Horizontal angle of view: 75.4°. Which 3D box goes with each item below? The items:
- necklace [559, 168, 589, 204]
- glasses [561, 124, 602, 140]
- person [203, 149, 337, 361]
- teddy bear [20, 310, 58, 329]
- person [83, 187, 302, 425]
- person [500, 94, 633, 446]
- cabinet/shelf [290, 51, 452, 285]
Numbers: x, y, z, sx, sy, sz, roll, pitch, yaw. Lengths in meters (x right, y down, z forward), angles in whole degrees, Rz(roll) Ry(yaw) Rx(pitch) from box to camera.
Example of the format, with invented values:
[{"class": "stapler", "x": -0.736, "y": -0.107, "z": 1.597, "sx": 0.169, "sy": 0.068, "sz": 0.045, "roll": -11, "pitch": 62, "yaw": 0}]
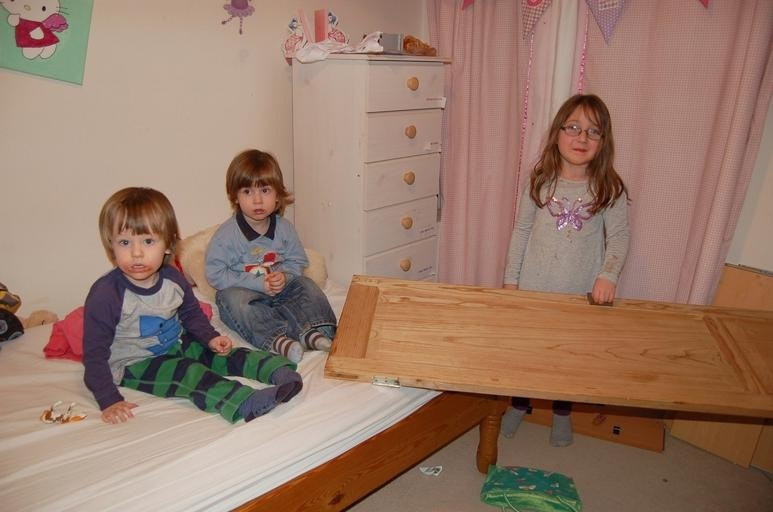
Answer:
[{"class": "necklace", "x": 0.893, "y": -0.340, "z": 2.374, "sx": 0.179, "sy": 0.180, "sz": 0.090, "roll": 7, "pitch": 23, "yaw": 20}, {"class": "glasses", "x": 0.902, "y": -0.573, "z": 2.312, "sx": 0.172, "sy": 0.070, "sz": 0.041, "roll": 5, "pitch": 22, "yaw": 17}, {"class": "person", "x": -0.520, "y": -0.010, "z": 2.339, "sx": 0.495, "sy": 0.823, "sz": 0.838, "roll": -11, "pitch": 28, "yaw": -33}, {"class": "teddy bear", "x": -1.616, "y": 0.286, "z": 2.321, "sx": 0.105, "sy": 0.040, "sz": 0.128, "roll": 11, "pitch": 14, "yaw": 43}, {"class": "person", "x": -0.759, "y": 0.230, "z": 1.906, "sx": 0.956, "sy": 0.751, "sz": 0.584, "roll": 15, "pitch": 21, "yaw": 21}, {"class": "person", "x": 0.869, "y": 0.152, "z": 2.515, "sx": 0.603, "sy": 1.809, "sz": 0.556, "roll": 13, "pitch": 19, "yaw": 31}, {"class": "cabinet/shelf", "x": -0.089, "y": -0.508, "z": 3.075, "sx": 0.701, "sy": 1.401, "sz": 0.792, "roll": 15, "pitch": 25, "yaw": 34}]
